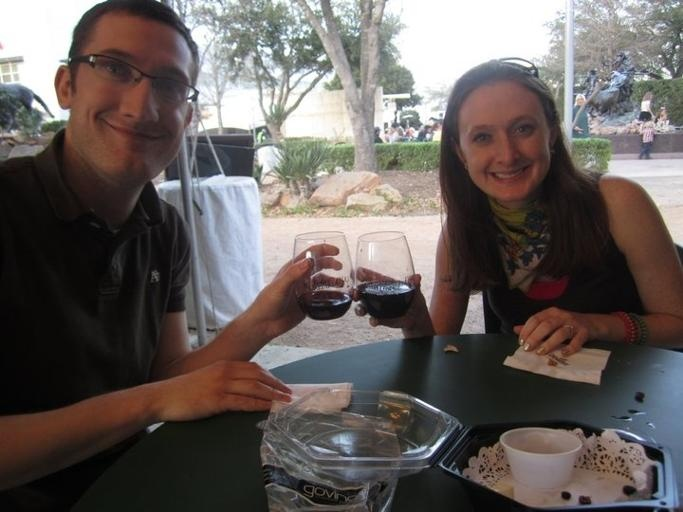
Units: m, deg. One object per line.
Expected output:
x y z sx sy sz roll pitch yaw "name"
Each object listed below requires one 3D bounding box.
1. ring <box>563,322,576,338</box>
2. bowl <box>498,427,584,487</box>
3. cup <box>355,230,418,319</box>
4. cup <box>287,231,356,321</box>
0.622 0.198 1.372 0.024 0.014 0.032 -1 9 -21 "ring"
0.355 0.355 0.890 0.120 0.064 0.124 -1 0 0 "bowl"
0.118 0.058 1.338 0.158 0.212 0.093 -2 8 2 "cup"
-0.049 0.047 1.358 0.165 0.225 0.113 -2 8 0 "cup"
